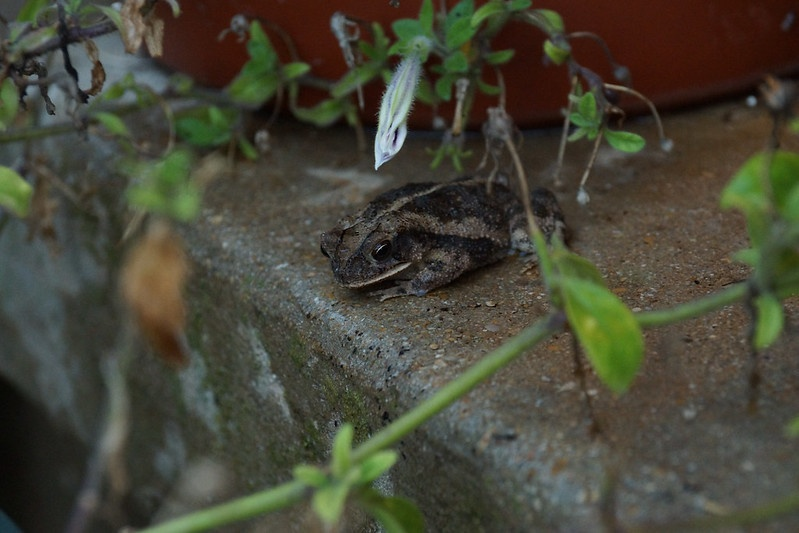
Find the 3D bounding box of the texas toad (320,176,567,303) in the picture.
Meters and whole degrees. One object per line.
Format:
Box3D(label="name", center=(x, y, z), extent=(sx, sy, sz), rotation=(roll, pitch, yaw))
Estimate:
Box3D(label="texas toad", center=(0.143, -0.109, 2.333), extent=(0.759, 0.260, 0.643), rotation=(-19, 17, -29))
